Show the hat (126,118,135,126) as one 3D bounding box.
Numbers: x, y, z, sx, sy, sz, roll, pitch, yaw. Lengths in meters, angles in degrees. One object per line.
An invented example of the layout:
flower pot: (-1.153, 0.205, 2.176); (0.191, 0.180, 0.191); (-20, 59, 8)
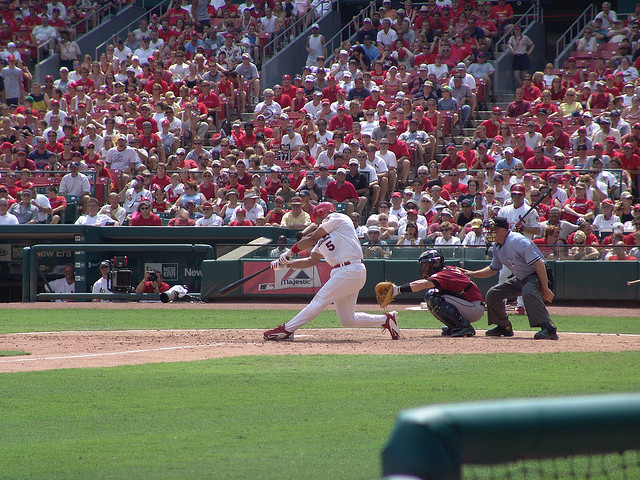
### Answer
hat: (-4.678, -2.890, 36.077); (0.167, 0.160, 0.130); (-44, -17, 20)

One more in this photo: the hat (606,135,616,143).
hat: (6.397, -2.218, 32.430); (0.205, 0.205, 0.345); (1, -6, 10)

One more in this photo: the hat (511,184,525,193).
hat: (4.114, -1.046, 30.704); (0.245, 0.202, 0.346); (1, -6, 11)

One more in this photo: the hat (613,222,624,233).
hat: (6.284, -0.239, 31.060); (0.221, 0.238, 0.229); (1, -6, 10)

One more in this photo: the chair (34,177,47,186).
chair: (-6.568, -1.359, 34.396); (0.350, 0.224, 0.175); (0, 3, -1)

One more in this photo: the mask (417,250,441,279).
mask: (1.976, 0.477, 26.659); (0.493, 0.474, 0.431); (-1, -2, 3)

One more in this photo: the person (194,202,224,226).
person: (-2.468, -0.448, 32.780); (0.788, 0.707, 0.462); (0, -9, 5)

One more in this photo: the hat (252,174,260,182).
hat: (-1.466, -1.392, 33.072); (0.154, 0.156, 0.287); (2, -6, -4)

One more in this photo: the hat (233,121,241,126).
hat: (-2.058, -2.814, 35.868); (0.253, 0.116, 0.412); (-1, 2, 0)

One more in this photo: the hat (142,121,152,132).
hat: (-4.190, -2.754, 35.329); (0.209, 0.234, 0.425); (2, -6, -5)

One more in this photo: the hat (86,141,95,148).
hat: (-5.525, -2.261, 35.185); (0.191, 0.196, 0.440); (3, -6, -10)

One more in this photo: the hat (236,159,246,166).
hat: (-1.830, -1.729, 33.385); (0.220, 0.113, 0.279); (1, -2, 3)

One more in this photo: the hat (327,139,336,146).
hat: (0.230, -2.196, 33.459); (0.214, 0.165, 0.324); (1, -2, 3)

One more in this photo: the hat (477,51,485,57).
hat: (3.999, -4.619, 36.698); (0.192, 0.092, 0.257); (2, 7, 2)

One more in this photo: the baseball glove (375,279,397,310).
baseball glove: (1.161, 0.977, 26.208); (0.238, 0.467, 0.277); (2, 4, -36)

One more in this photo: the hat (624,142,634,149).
hat: (6.739, -2.060, 32.155); (0.148, 0.137, 0.233); (-2, -7, 32)

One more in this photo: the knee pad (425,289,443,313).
knee pad: (2.018, 1.095, 26.287); (0.292, 0.381, 0.126); (-3, -7, 39)

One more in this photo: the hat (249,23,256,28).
hat: (-1.887, -5.900, 40.426); (0.173, 0.137, 0.180); (2, -6, -4)

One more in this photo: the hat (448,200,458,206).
hat: (2.844, -0.772, 31.696); (0.146, 0.105, 0.145); (-1, 3, 1)

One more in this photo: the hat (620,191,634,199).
hat: (6.517, -0.949, 31.343); (0.249, 0.203, 0.516); (1, -6, 11)

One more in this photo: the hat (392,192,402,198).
hat: (1.674, -0.967, 32.315); (0.208, 0.121, 0.301); (1, -6, 2)

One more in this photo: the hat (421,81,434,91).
hat: (2.558, -3.672, 35.180); (0.275, 0.128, 0.368); (7, -8, 12)

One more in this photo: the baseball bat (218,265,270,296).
baseball bat: (-1.630, 0.857, 31.169); (1.187, 0.137, 0.151); (-26, 42, -4)

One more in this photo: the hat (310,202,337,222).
hat: (0.048, -0.524, 26.276); (0.325, 0.294, 0.469); (2, -6, -7)

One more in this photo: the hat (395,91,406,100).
hat: (1.925, -3.490, 35.653); (0.223, 0.137, 0.209); (-4, 7, 6)

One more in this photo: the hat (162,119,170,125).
hat: (-3.732, -2.809, 35.359); (0.148, 0.108, 0.154); (-40, -35, 27)

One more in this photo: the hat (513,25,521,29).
hat: (5.040, -5.470, 37.870); (0.233, 0.108, 0.365); (1, 4, 3)

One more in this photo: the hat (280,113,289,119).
hat: (-0.884, -2.932, 35.123); (0.240, 0.117, 0.372); (0, -2, 3)

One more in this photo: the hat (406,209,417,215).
hat: (1.967, -0.584, 31.808); (0.217, 0.138, 0.282); (1, -6, 1)

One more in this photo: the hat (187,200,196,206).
hat: (-2.921, -0.828, 33.087); (0.190, 0.118, 0.255); (2, -6, -3)

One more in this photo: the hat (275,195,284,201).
hat: (-0.925, -0.917, 32.678); (0.193, 0.167, 0.389); (2, -6, 0)

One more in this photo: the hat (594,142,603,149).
hat: (6.085, -2.063, 32.235); (0.167, 0.181, 0.448); (1, -6, 12)
